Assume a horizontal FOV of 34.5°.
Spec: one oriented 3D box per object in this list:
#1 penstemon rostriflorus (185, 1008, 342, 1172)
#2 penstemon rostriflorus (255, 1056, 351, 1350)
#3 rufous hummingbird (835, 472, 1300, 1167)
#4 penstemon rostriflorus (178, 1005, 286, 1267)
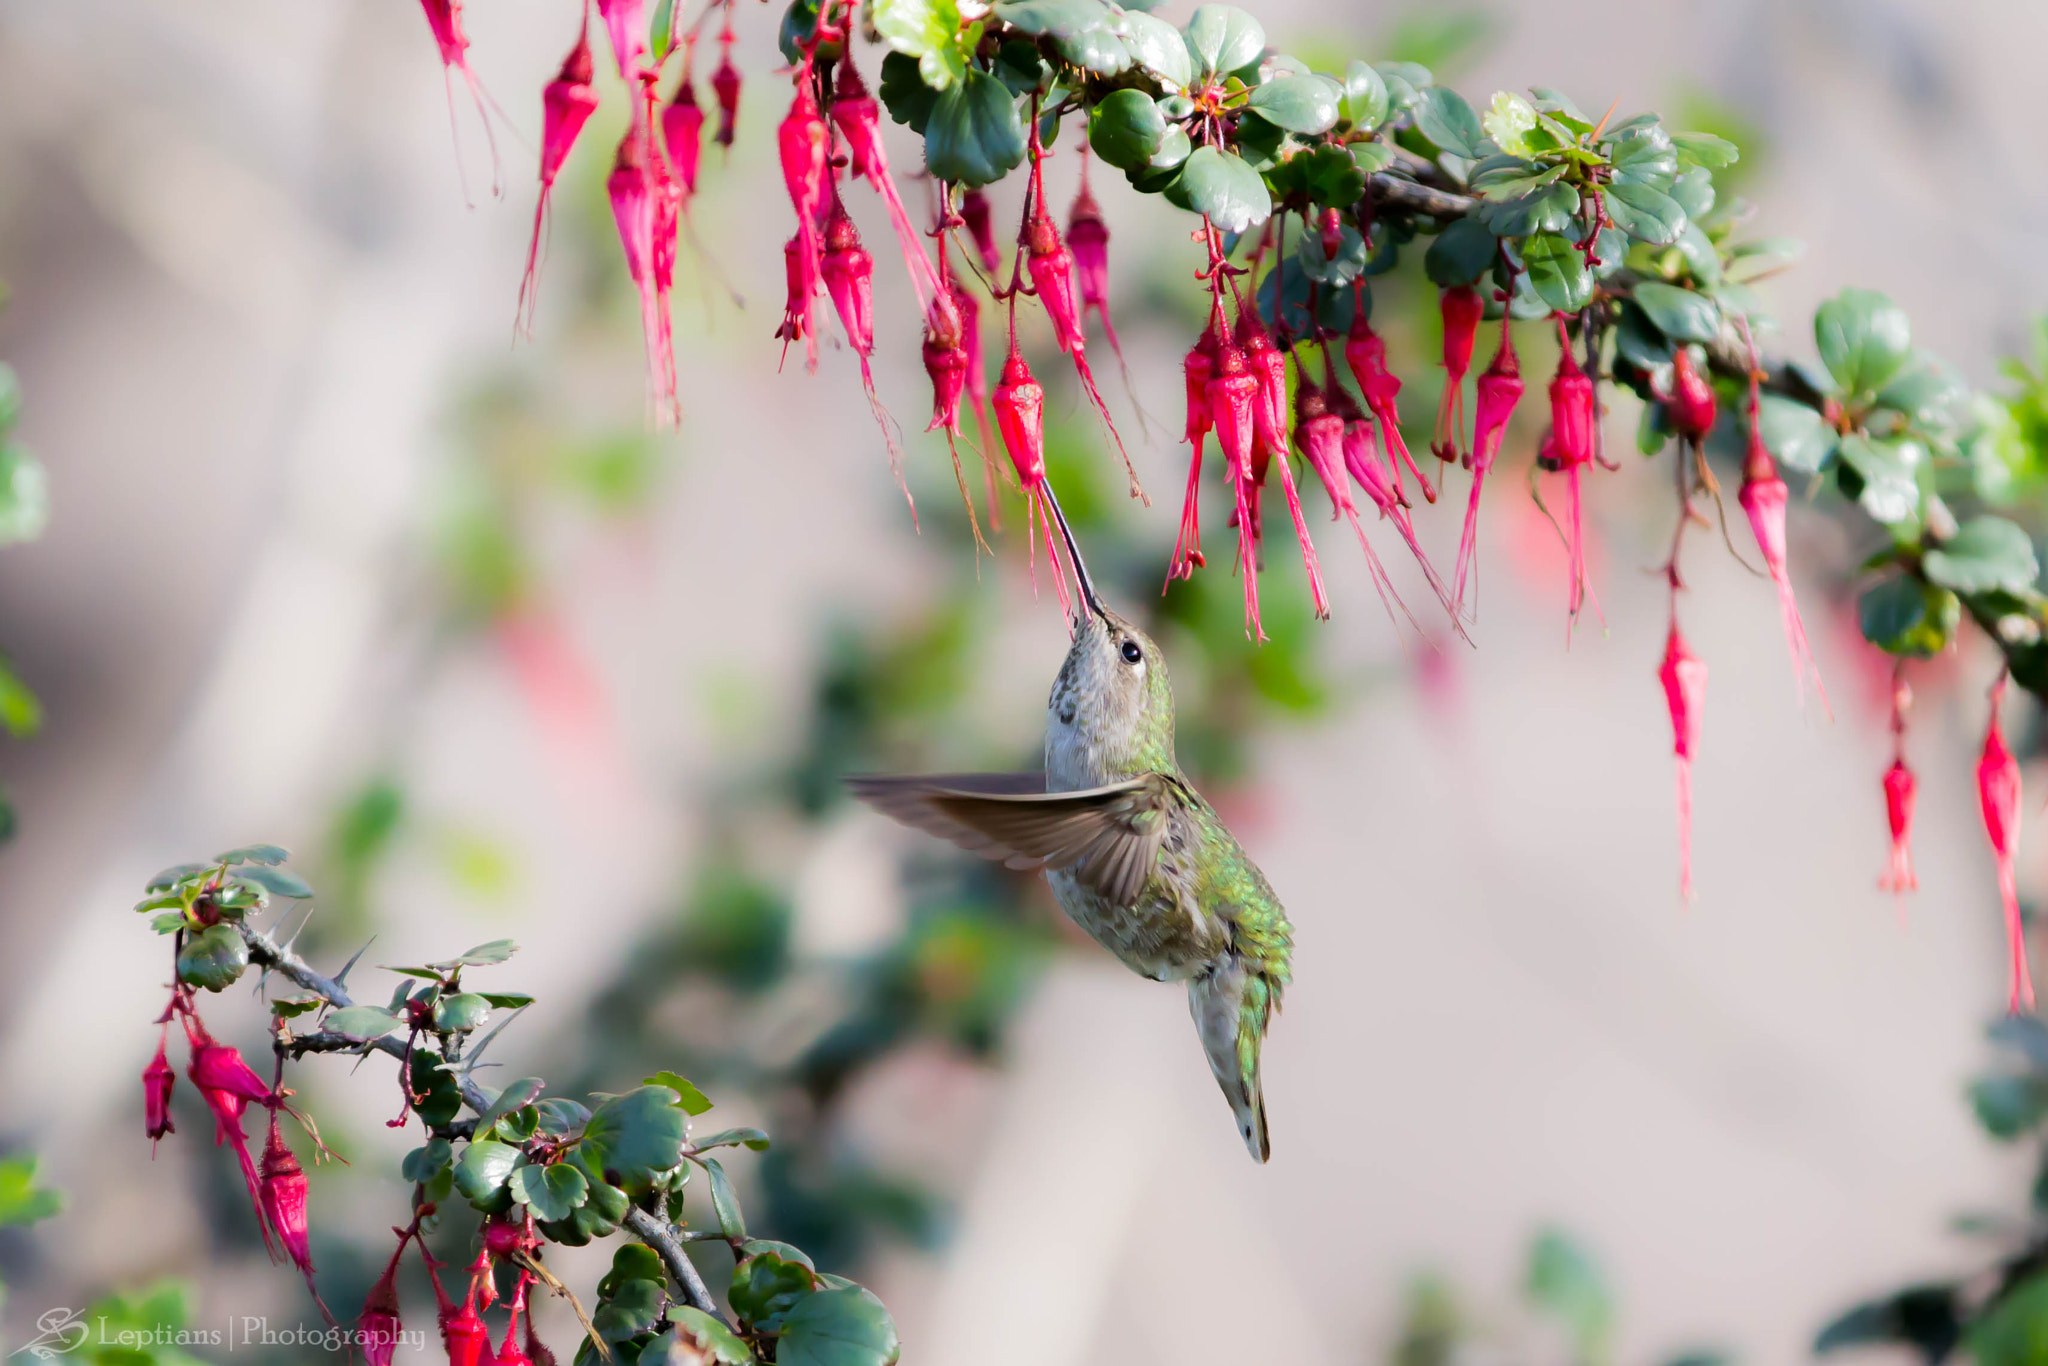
[{"bbox_3d":[-0.890,0.459,3.903,0.113,0.257,0.147,-17,32,-22],"label":"penstemon rostriflorus"},{"bbox_3d":[-0.878,0.588,3.930,0.112,0.109,0.402,-5,72,34],"label":"penstemon rostriflorus"},{"bbox_3d":[0.080,0.168,4.194,0.486,0.666,0.832,0,89,8],"label":"rufous hummingbird"},{"bbox_3d":[-0.927,0.483,3.849,0.065,0.276,0.089,18,93,-19],"label":"penstemon rostriflorus"}]
